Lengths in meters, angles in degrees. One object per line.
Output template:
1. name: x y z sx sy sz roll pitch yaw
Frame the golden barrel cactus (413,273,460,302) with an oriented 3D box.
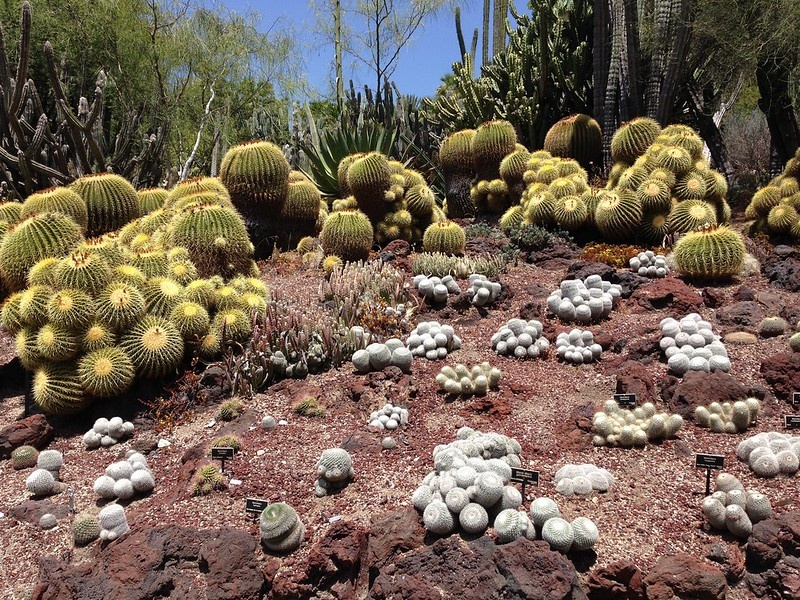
1. golden barrel cactus: 0.466 -0.162 7.578 0.368 0.145 0.356 -9 37 -30

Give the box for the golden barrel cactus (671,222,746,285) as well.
1. golden barrel cactus: 3.761 -0.590 7.826 0.678 0.512 0.695 -12 2 38

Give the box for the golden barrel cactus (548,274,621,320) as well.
1. golden barrel cactus: 2.155 -0.051 7.396 0.668 0.316 0.545 -26 36 -17

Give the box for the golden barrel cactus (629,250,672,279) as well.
1. golden barrel cactus: 3.129 -0.492 8.119 0.326 0.186 0.380 -3 8 -13

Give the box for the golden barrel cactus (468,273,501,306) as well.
1. golden barrel cactus: 1.012 -0.126 7.612 0.345 0.199 0.360 10 0 -24
